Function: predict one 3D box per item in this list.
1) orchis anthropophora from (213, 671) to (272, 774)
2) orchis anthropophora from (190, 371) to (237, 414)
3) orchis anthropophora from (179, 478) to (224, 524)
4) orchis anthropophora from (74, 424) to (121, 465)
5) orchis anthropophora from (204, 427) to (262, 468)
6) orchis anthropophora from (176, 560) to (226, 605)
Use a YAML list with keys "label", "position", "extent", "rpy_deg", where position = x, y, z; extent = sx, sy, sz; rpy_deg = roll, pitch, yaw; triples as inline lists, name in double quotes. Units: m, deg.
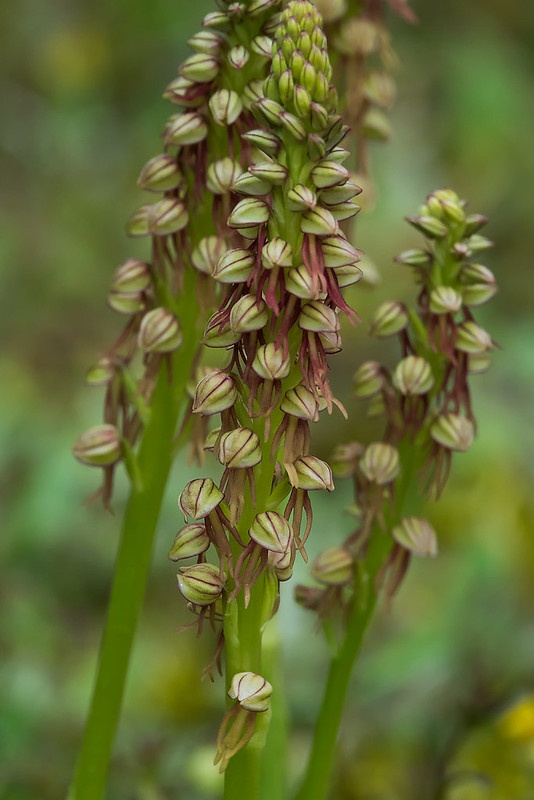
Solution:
- label: "orchis anthropophora"
  position: [-0.018, 0.186, 0.433]
  extent: [0.026, 0.022, 0.059]
  rpy_deg: [24, -81, 14]
- label: "orchis anthropophora"
  position: [-0.028, -0.005, 0.382]
  extent: [0.018, 0.010, 0.023]
  rpy_deg: [24, -87, -3]
- label: "orchis anthropophora"
  position: [-0.036, 0.052, 0.396]
  extent: [0.023, 0.023, 0.009]
  rpy_deg: [-53, -48, -3]
- label: "orchis anthropophora"
  position: [-0.117, 0.032, 0.521]
  extent: [0.034, 0.020, 0.023]
  rpy_deg: [-18, -65, -28]
- label: "orchis anthropophora"
  position: [-0.016, 0.023, 0.390]
  extent: [0.025, 0.011, 0.019]
  rpy_deg: [17, -64, 10]
- label: "orchis anthropophora"
  position: [-0.038, 0.106, 0.431]
  extent: [0.027, 0.024, 0.036]
  rpy_deg: [8, -40, -2]
